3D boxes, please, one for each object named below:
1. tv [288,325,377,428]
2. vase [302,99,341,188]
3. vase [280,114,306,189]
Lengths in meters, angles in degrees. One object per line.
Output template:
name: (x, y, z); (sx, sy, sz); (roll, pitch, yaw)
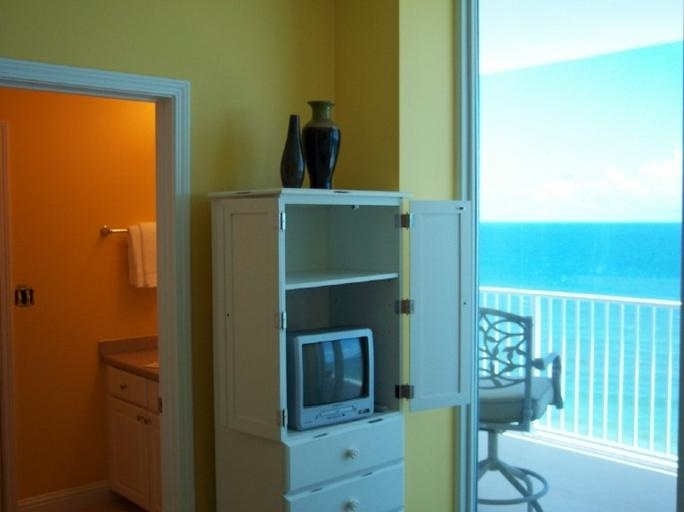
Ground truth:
tv: (-0.058, 0.554, 3.064); (0.392, 0.428, 0.215); (-3, 5, -24)
vase: (-0.097, -0.521, 3.055); (0.148, 0.404, 0.136); (-6, 8, -35)
vase: (-0.230, -0.483, 2.999); (0.103, 0.326, 0.070); (-2, 6, -5)
